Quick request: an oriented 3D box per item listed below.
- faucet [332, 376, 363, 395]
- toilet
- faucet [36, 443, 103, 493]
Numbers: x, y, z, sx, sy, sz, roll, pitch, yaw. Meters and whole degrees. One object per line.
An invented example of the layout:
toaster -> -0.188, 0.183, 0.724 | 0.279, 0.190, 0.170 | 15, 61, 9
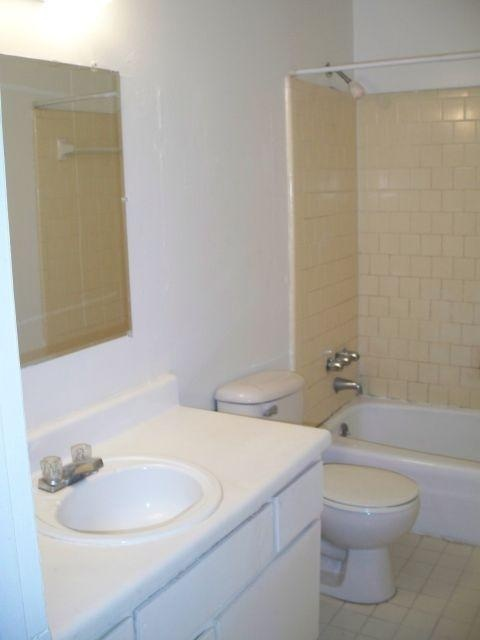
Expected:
faucet -> 0.583, 0.348, 2.919 | 0.141, 0.085, 0.100 | 4, 48, 13
toilet -> 0.315, 0.556, 2.275 | 0.844, 0.931, 0.566 | 2, 9, 29
faucet -> -0.348, 0.304, 1.150 | 0.063, 0.071, 0.147 | 6, 11, 45
